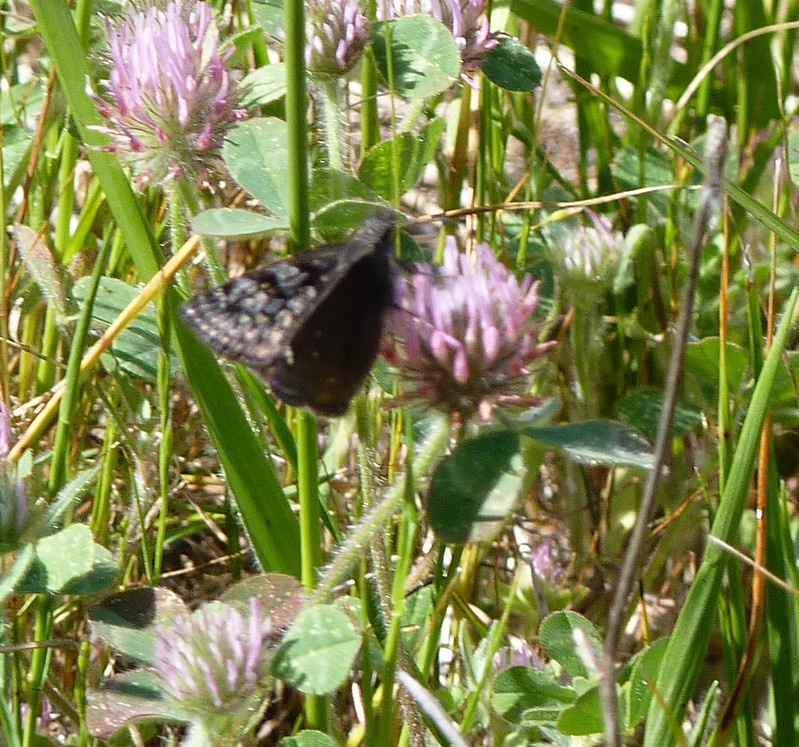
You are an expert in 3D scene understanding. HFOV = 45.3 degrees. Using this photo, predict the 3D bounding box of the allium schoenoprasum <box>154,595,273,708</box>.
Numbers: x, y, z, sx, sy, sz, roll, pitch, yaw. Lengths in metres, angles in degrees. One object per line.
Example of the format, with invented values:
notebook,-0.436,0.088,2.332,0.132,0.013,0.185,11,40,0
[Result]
allium schoenoprasum,-0.204,0.314,1.072,0.102,0.114,0.136,14,20,35

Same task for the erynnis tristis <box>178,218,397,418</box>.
erynnis tristis,-0.163,-0.078,1.375,0.273,0.272,0.278,-11,11,-12

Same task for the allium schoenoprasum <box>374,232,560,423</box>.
allium schoenoprasum,0.064,-0.063,1.188,0.177,0.232,0.216,-2,19,-13
